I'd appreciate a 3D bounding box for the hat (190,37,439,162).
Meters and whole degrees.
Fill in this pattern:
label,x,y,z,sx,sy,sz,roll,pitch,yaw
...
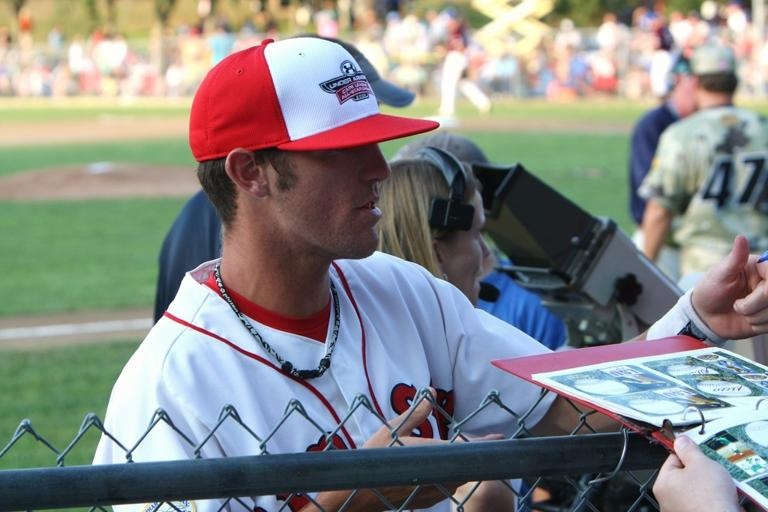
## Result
label,x,y,z,sx,sy,sz,roll,pitch,yaw
hat,-0.720,-1.138,9.174,1.238,0.599,0.931,-1,7,8

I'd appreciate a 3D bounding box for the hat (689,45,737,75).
label,x,y,z,sx,sy,sz,roll,pitch,yaw
hat,3.147,-1.847,11.803,0.304,0.222,0.325,-4,7,-10
